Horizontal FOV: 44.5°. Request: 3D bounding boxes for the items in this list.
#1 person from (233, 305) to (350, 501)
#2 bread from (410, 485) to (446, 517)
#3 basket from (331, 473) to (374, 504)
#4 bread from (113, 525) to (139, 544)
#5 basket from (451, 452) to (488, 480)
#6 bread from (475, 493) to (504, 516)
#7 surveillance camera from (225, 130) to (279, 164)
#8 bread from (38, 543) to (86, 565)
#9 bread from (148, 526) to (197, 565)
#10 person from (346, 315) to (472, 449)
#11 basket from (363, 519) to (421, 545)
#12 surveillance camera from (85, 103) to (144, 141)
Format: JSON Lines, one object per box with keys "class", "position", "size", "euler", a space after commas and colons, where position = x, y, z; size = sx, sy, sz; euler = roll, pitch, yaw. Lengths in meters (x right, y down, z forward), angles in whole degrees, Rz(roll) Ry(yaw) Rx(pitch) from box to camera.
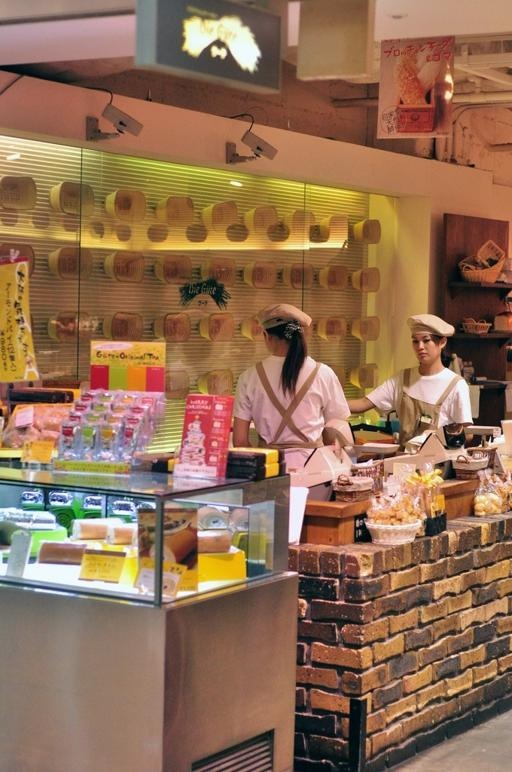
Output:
{"class": "person", "position": [0.180, 0.341, 3.270], "size": [0.614, 1.456, 0.473], "euler": [1, 10, 6]}
{"class": "bread", "position": [0.736, 0.468, 2.653], "size": [0.142, 0.152, 0.147], "euler": [-2, 6, -2]}
{"class": "basket", "position": [0.379, 0.392, 2.422], "size": [0.105, 0.066, 0.128], "euler": [1, -3, -30]}
{"class": "bread", "position": [-0.323, 0.368, 1.548], "size": [0.055, 0.026, 0.074], "euler": [1, -8, -5]}
{"class": "basket", "position": [1.075, 0.402, 3.130], "size": [0.108, 0.101, 0.183], "euler": [-2, -3, 36]}
{"class": "bread", "position": [1.182, 0.589, 3.166], "size": [0.126, 0.080, 0.122], "euler": [-2, 0, -41]}
{"class": "surveillance camera", "position": [-0.049, -1.752, 4.584], "size": [0.248, 0.195, 0.366], "euler": [12, -5, 46]}
{"class": "bread", "position": [-0.497, 0.430, 1.608], "size": [0.095, 0.029, 0.066], "euler": [4, -1, 6]}
{"class": "bread", "position": [-0.186, 0.343, 1.358], "size": [0.047, 0.047, 0.200], "euler": [20, -2, 10]}
{"class": "person", "position": [1.012, -0.006, 3.735], "size": [0.550, 0.829, 0.825], "euler": [-10, 14, -33]}
{"class": "basket", "position": [0.525, 0.558, 2.378], "size": [0.128, 0.041, 0.130], "euler": [-2, -3, 35]}
{"class": "surveillance camera", "position": [-0.867, -1.555, 3.738], "size": [0.323, 0.249, 0.130], "euler": [-6, 10, -21]}
